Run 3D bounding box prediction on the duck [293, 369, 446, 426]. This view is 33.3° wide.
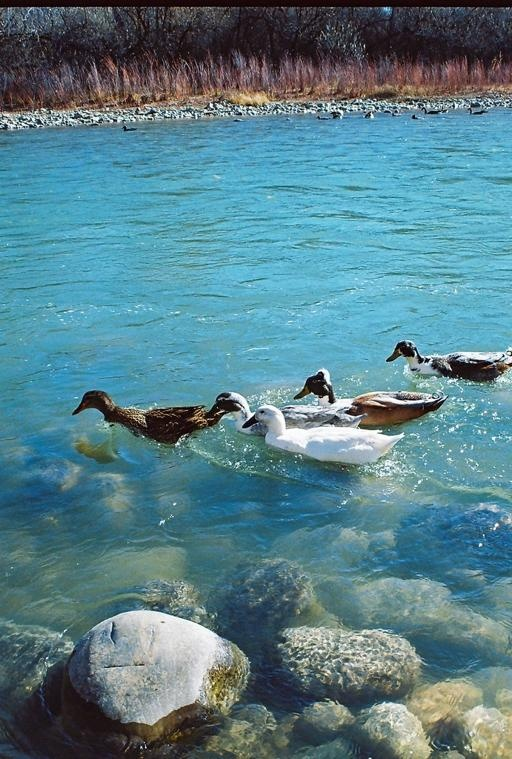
[{"bbox_3d":[1.056,0.183,8.191,1.643,0.659,0.471,1,5,-1],"label":"duck"}]

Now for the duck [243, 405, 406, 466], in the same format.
[{"bbox_3d":[0.605,0.545,7.623,1.474,0.529,0.459,7,-22,19],"label":"duck"}]

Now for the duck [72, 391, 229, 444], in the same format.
[{"bbox_3d":[-0.896,0.392,8.120,1.505,0.727,0.462,-1,42,3],"label":"duck"}]
